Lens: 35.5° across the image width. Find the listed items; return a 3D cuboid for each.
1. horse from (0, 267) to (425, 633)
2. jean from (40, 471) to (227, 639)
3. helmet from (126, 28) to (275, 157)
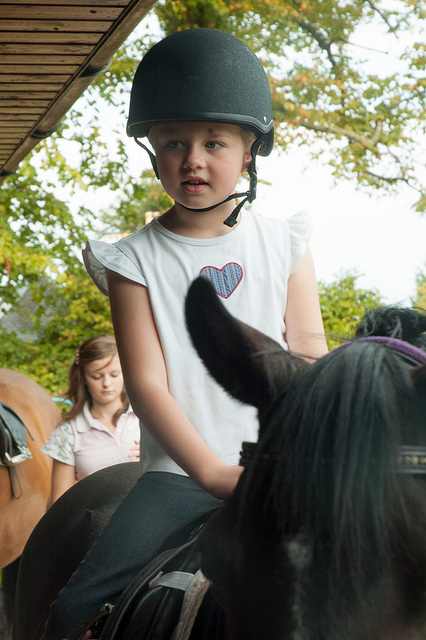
[{"bbox_3d":[0.045,0.175,0.695,0.363,0.382,0.125,7,0,24],"label":"horse"},{"bbox_3d":[-0.130,0.358,0.947,0.107,0.250,0.288,7,0,-33],"label":"jean"},{"bbox_3d":[-0.008,-0.292,0.906,0.145,0.120,0.171,-1,-19,16],"label":"helmet"}]
